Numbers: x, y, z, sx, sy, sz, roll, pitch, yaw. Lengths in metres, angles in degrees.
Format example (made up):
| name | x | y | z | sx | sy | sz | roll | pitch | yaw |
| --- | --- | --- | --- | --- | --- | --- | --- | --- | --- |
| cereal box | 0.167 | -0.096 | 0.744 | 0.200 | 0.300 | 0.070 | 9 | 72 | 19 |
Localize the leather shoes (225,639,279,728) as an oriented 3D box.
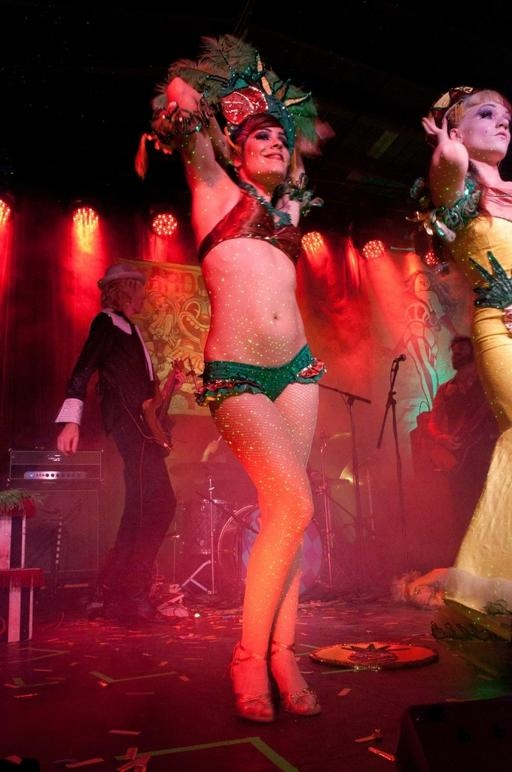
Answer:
| name | x | y | z | sx | sy | sz | roll | pitch | yaw |
| --- | --- | --- | --- | --- | --- | --- | --- | --- | --- |
| leather shoes | -0.010 | 0.692 | 1.537 | 0.089 | 0.158 | 0.201 | 3 | 0 | -6 |
